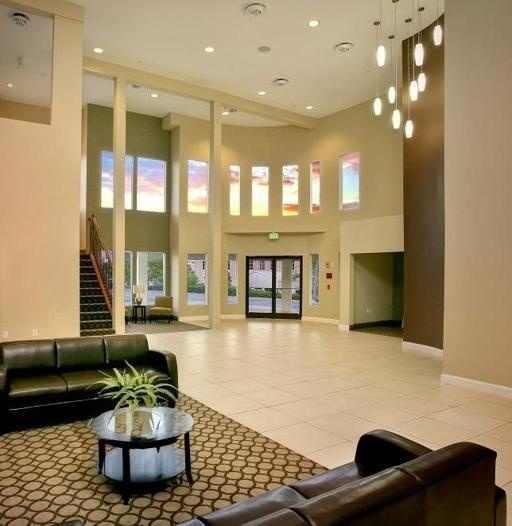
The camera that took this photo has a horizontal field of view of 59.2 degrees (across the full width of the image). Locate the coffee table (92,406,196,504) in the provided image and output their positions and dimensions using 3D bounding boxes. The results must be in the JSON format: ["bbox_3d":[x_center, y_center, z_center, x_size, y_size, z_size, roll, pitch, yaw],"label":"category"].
[{"bbox_3d":[-0.920,1.473,3.613,0.582,0.397,0.625,0,4,-7],"label":"coffee table"}]

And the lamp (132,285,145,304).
[{"bbox_3d":[-3.684,0.999,14.164,0.438,0.656,1.112,0,0,-15],"label":"lamp"}]

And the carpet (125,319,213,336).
[{"bbox_3d":[-2.598,1.802,12.897,2.162,0.062,3.031,0,0,-18],"label":"carpet"}]
